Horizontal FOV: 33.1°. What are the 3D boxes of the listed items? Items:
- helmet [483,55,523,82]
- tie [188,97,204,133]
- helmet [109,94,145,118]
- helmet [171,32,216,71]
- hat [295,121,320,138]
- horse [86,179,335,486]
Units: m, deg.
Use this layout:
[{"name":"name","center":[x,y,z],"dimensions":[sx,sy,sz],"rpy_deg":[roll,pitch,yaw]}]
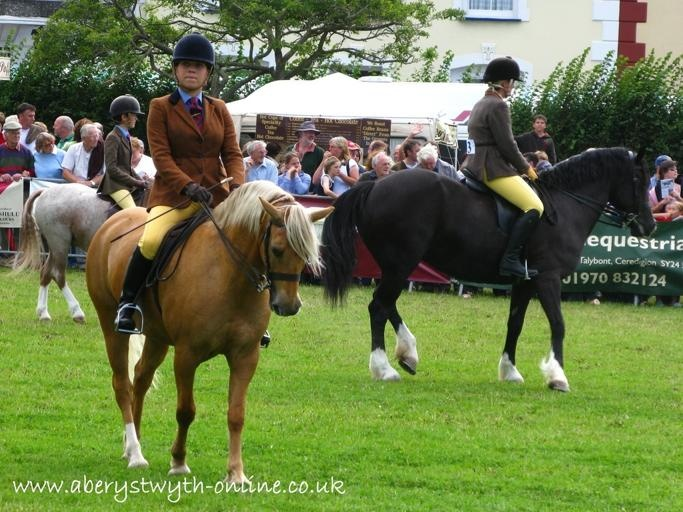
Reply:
[{"name":"helmet","center":[2.475,-2.799,17.387],"dimensions":[0.490,0.300,0.345],"rpy_deg":[-7,12,-20]},{"name":"tie","center":[-1.787,-1.749,14.303],"dimensions":[0.229,0.377,0.078],"rpy_deg":[-9,3,-32]},{"name":"helmet","center":[-3.401,-2.387,18.417],"dimensions":[0.489,0.293,0.373],"rpy_deg":[-5,12,-14]},{"name":"helmet","center":[-1.799,-2.515,14.162],"dimensions":[0.364,0.439,0.479],"rpy_deg":[3,-34,3]},{"name":"hat","center":[-0.723,-2.647,24.093],"dimensions":[0.742,0.367,0.855],"rpy_deg":[0,1,-2]},{"name":"horse","center":[-1.725,0.855,14.143],"dimensions":[3.012,3.613,1.047],"rpy_deg":[6,3,38]}]
